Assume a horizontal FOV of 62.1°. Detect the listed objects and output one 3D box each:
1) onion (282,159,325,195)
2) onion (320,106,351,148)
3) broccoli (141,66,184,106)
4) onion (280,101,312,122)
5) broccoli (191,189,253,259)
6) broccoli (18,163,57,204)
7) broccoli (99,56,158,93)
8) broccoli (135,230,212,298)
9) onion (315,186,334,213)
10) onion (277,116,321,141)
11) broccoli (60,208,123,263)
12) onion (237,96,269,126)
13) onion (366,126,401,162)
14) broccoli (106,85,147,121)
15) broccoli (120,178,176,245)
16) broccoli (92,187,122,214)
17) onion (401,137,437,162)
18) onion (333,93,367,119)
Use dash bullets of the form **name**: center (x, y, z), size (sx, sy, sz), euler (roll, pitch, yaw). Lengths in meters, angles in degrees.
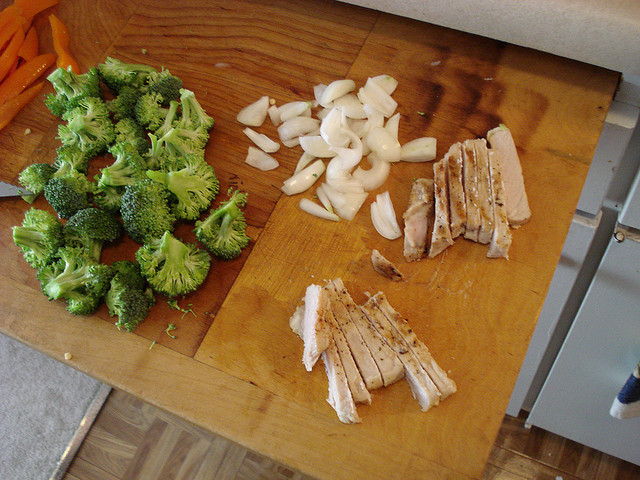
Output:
- **onion**: center (-0.070, -0.263, 2.302), size (0.098, 0.064, 0.194), euler (42, 84, 5)
- **onion**: center (0.057, -0.479, 2.288), size (0.135, 0.050, 0.160), euler (-39, 114, -26)
- **broccoli**: center (-0.701, -0.687, 2.424), size (0.171, 0.095, 0.161), euler (11, 67, 11)
- **onion**: center (-0.111, -0.575, 2.382), size (0.120, 0.029, 0.070), euler (-24, 38, -6)
- **broccoli**: center (-0.399, -0.045, 2.197), size (0.229, 0.177, 0.178), euler (-11, 50, -23)
- **broccoli**: center (-1.247, -0.266, 2.424), size (0.162, 0.169, 0.181), euler (-13, 89, 32)
- **broccoli**: center (-0.886, -0.758, 2.486), size (0.204, 0.118, 0.185), euler (-4, 61, 2)
- **broccoli**: center (-0.600, 0.111, 2.141), size (0.273, 0.137, 0.283), euler (-5, 74, -20)
- **onion**: center (0.018, -0.176, 2.287), size (0.039, 0.032, 0.132), euler (-31, 79, 3)
- **onion**: center (-0.094, -0.508, 2.368), size (0.166, 0.051, 0.095), euler (-21, 69, 2)
- **broccoli**: center (-0.987, 0.006, 2.287), size (0.251, 0.266, 0.281), euler (1, 86, -25)
- **onion**: center (-0.302, -0.577, 2.409), size (0.099, 0.060, 0.152), euler (26, 84, 13)
- **onion**: center (0.282, -0.410, 2.329), size (0.112, 0.086, 0.154), euler (-35, 76, -16)
- **broccoli**: center (-0.885, -0.616, 2.387), size (0.155, 0.044, 0.152), euler (15, 80, -1)
- **broccoli**: center (-0.703, -0.105, 2.097), size (0.186, 0.102, 0.244), euler (-1, 88, -8)
- **broccoli**: center (-0.910, -0.167, 2.293), size (0.116, 0.036, 0.117), euler (-33, 91, 5)
- **onion**: center (0.433, -0.388, 2.312), size (0.144, 0.059, 0.090), euler (-10, 76, 10)
- **onion**: center (0.133, -0.604, 2.392), size (0.135, 0.032, 0.106), euler (34, 68, -12)
